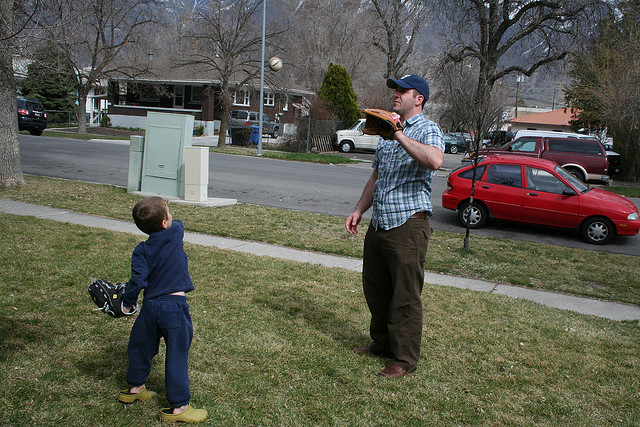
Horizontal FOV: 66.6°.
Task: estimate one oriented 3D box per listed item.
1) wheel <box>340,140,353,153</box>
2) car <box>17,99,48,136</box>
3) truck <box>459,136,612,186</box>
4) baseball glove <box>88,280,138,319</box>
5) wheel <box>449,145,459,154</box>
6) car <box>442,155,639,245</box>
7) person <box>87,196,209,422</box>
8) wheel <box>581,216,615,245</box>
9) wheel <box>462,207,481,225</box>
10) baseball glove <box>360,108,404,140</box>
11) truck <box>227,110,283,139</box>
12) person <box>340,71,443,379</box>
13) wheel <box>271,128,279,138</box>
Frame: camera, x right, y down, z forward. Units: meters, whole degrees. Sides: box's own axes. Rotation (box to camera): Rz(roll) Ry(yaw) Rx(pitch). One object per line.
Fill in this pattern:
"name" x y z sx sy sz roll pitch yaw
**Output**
"wheel" 1.678 -4.550 32.676 0.684 0.748 0.278 -2 15 -2
"car" -16.712 -5.634 28.405 1.445 1.433 2.608 -9 25 -42
"truck" 7.502 -1.827 16.583 4.770 1.912 2.269 4 5 12
"baseball glove" -1.967 0.797 4.604 0.420 0.197 0.305 39 11 15
"wheel" 11.370 -5.585 41.836 0.706 0.744 0.265 -1 35 -25
"car" 5.621 -0.531 12.914 4.492 1.987 2.192 5 14 21
"person" -1.654 0.857 4.785 0.952 2.021 1.154 -2 14 -23
"wheel" 6.663 0.382 11.726 0.595 0.656 0.220 -5 -2 17
"wheel" 3.798 0.045 12.218 0.410 0.450 0.141 2 1 23
"baseball glove" 0.642 -0.943 5.188 0.414 0.309 0.448 4 13 2
"truck" -5.523 -7.754 42.773 4.556 2.139 2.412 -9 15 -34
"person" 0.817 0.066 5.526 0.920 3.238 1.212 6 13 12
"wheel" -4.145 -7.202 43.307 0.316 0.977 0.930 2 3 29
